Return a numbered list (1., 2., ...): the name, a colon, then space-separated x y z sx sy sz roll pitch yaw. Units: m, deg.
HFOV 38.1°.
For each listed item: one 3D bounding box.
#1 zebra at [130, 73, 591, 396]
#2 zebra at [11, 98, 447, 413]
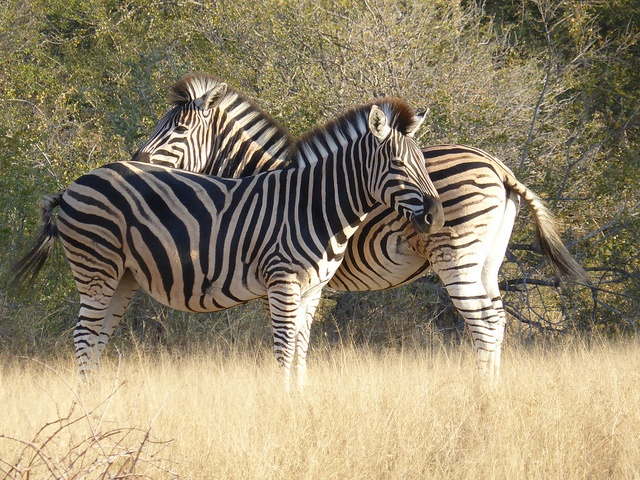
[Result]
1. zebra: 0.369 -0.016 11.611 5.320 3.756 1.566 3 18 15
2. zebra: -1.237 0.362 10.902 4.895 3.904 1.358 0 -10 4
